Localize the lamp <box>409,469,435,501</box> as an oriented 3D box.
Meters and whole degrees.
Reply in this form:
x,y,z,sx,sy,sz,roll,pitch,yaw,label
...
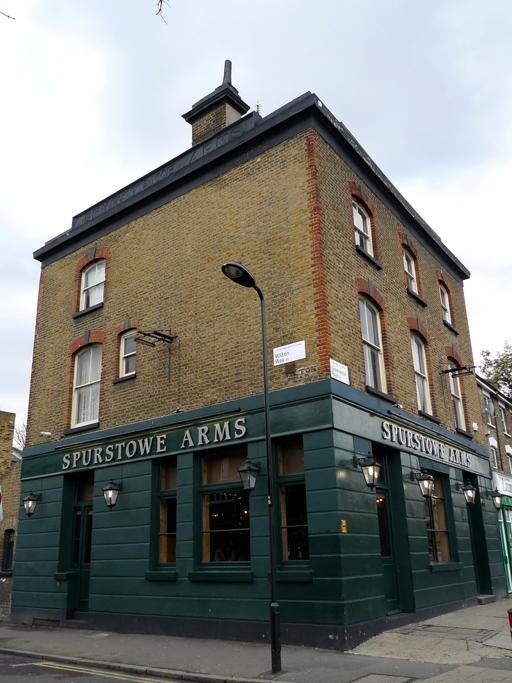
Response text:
x,y,z,sx,sy,sz,roll,pitch,yaw,label
3.687,3.109,12.740,0.412,0.589,0.587,-12,-23,21,lamp

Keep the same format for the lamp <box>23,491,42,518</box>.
x,y,z,sx,sy,sz,roll,pitch,yaw,label
-6.068,4.359,15.401,0.381,0.614,0.807,11,-26,-32,lamp

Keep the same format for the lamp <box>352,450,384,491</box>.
x,y,z,sx,sy,sz,roll,pitch,yaw,label
2.016,2.320,10.431,0.411,0.610,0.603,-10,-23,17,lamp
